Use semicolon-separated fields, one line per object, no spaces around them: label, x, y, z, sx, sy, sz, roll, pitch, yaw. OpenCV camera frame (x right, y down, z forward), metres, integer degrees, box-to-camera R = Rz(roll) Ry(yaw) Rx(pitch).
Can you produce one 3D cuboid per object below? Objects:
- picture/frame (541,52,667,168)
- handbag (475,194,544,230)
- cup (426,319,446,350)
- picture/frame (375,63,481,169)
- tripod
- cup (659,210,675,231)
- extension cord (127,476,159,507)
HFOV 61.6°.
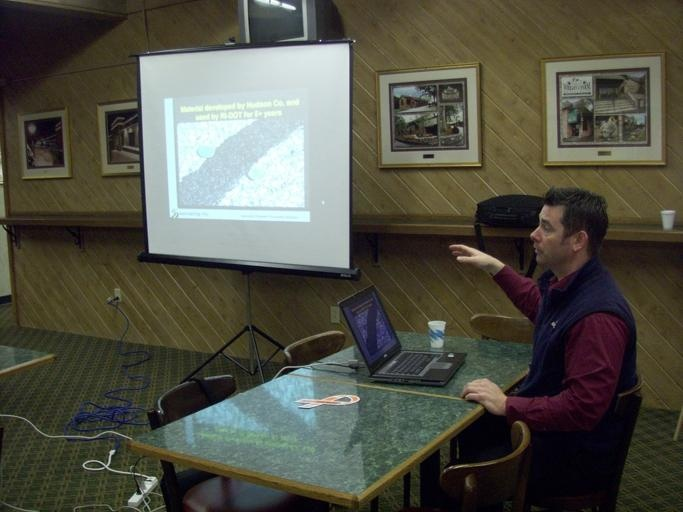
picture/frame;1.944;-1.076;4.146;0.923;0.828;0.039;1;7;15
handbag;1.316;-0.348;4.373;0.569;0.240;0.555;-10;13;-43
cup;0.510;0.438;3.148;0.141;0.157;0.133;0;-2;0
picture/frame;0.735;-1.151;4.605;0.937;0.841;0.072;1;5;16
tripod;-0.839;0.585;5.377;1.046;1.120;1.032;-7;-28;0
cup;2.244;-0.246;3.928;0.078;0.126;0.184;4;13;29
extension cord;-1.176;1.389;3.390;0.058;0.070;0.193;-1;21;11
